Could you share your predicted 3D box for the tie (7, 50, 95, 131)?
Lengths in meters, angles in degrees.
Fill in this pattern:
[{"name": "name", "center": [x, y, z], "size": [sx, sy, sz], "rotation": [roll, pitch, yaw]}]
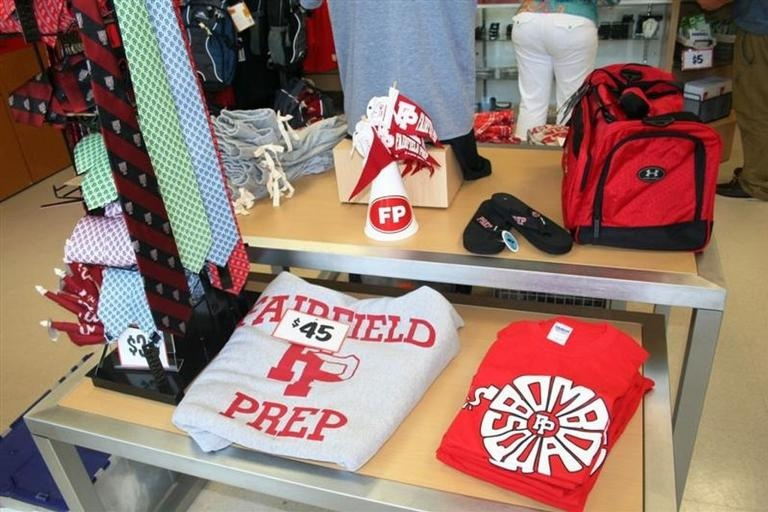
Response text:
[{"name": "tie", "center": [-0.922, -0.447, 1.602], "size": [0.261, 0.199, 0.079], "rotation": [-23, 2, 4]}]
